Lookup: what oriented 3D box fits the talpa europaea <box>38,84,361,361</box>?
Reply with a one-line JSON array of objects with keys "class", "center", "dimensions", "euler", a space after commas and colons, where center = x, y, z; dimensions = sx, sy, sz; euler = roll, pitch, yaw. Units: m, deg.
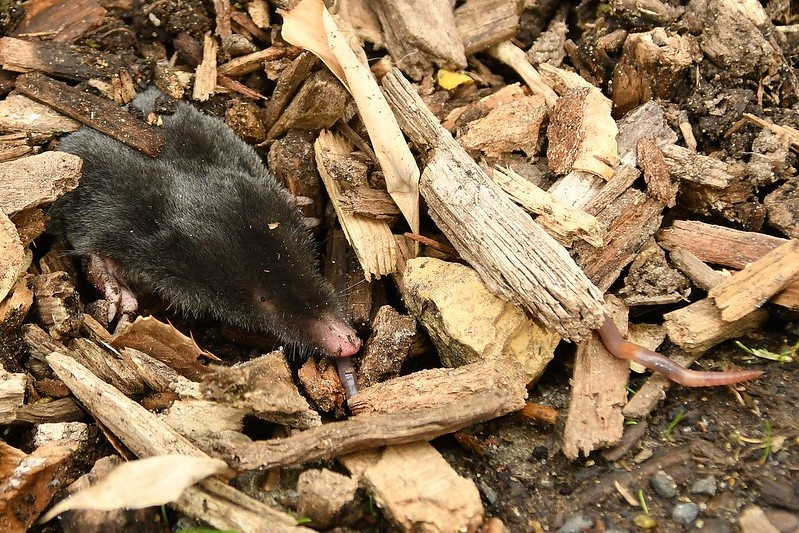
[{"class": "talpa europaea", "center": [-1.199, -0.190, 5.247], "dimensions": [1.467, 1.674, 2.186], "euler": [-6, 79, 21]}]

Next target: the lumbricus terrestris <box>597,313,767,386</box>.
[{"class": "lumbricus terrestris", "center": [1.794, 0.532, 4.520], "dimensions": [0.580, 0.191, 0.902], "euler": [-9, 21, -26]}]
